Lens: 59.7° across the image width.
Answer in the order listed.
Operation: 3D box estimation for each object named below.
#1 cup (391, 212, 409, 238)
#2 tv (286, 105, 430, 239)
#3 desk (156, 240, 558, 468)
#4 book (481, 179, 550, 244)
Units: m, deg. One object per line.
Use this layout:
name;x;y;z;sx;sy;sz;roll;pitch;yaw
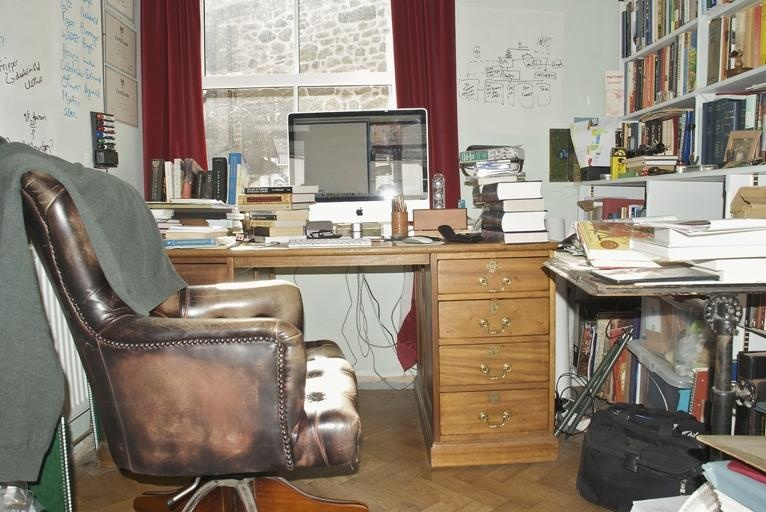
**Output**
cup;0.082;-0.163;3.329;0.078;0.118;0.106;-3;8;-3
tv;-0.119;-0.402;3.485;0.753;0.757;0.247;-3;-13;6
desk;-0.208;0.404;3.578;2.027;1.191;1.172;-4;13;-5
book;0.614;-0.199;3.162;0.261;0.296;0.438;-3;7;-5
